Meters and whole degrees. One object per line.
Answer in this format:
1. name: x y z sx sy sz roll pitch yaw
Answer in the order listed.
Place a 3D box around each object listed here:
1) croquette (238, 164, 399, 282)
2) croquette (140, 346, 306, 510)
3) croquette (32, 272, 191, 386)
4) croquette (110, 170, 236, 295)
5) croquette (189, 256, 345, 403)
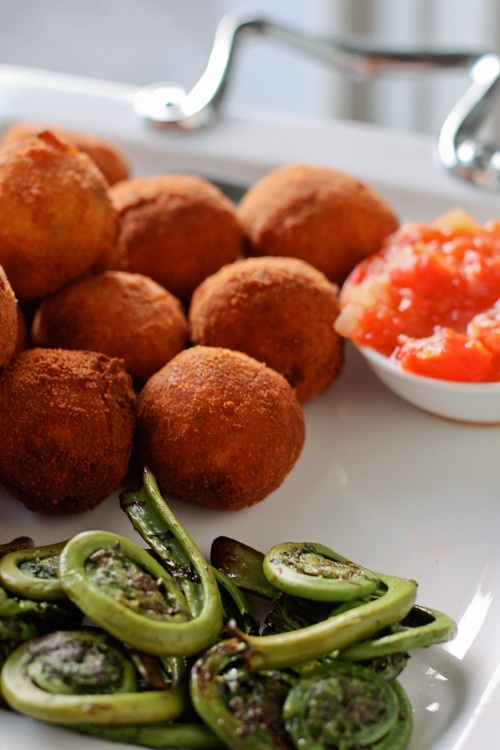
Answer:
1. croquette: 0.064 -0.145 0.750 0.161 0.134 0.076 1 64 -18
2. croquette: -0.023 0.041 0.550 0.131 0.068 0.114 7 80 1
3. croquette: -0.120 -0.047 0.659 0.116 0.127 0.069 6 69 -3
4. croquette: -0.062 -0.133 0.690 0.115 0.107 0.047 -20 40 -1
5. croquette: 0.020 -0.049 0.682 0.133 0.119 0.066 -6 14 4
